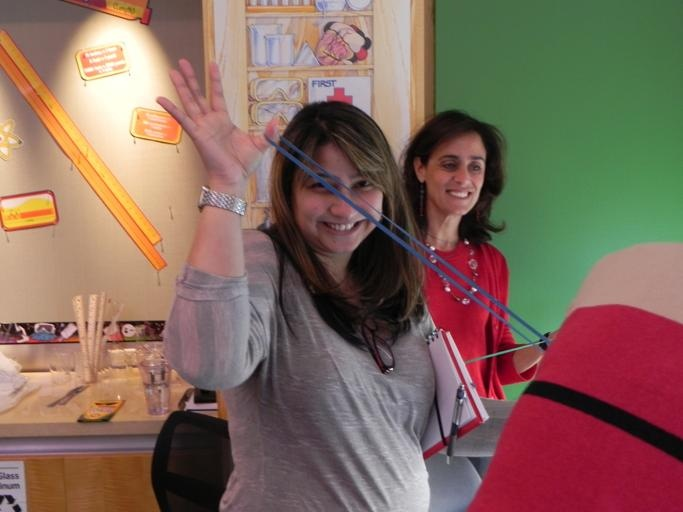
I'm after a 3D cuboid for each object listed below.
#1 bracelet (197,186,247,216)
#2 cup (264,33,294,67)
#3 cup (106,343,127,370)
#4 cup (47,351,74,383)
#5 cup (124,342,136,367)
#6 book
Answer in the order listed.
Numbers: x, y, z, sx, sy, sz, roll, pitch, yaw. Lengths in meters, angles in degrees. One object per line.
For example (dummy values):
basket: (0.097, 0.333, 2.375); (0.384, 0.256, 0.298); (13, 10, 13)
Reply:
bracelet: (-0.289, -0.124, 1.518); (0.085, 0.071, 0.105); (5, -27, 6)
cup: (-0.247, -0.818, 2.482); (0.107, 0.096, 0.094); (0, 6, -10)
cup: (-1.122, 0.499, 3.132); (0.108, 0.171, 0.117); (-1, 5, 0)
cup: (-1.338, 0.525, 2.991); (0.123, 0.163, 0.128); (0, -4, 0)
cup: (-1.047, 0.497, 3.106); (0.055, 0.090, 0.188); (-2, 11, -18)
book: (0.299, 0.372, 1.777); (0.066, 0.301, 0.313); (7, 46, -18)
